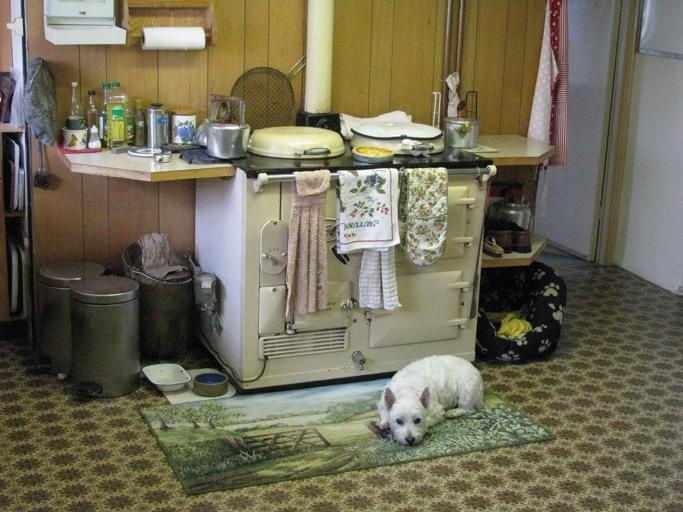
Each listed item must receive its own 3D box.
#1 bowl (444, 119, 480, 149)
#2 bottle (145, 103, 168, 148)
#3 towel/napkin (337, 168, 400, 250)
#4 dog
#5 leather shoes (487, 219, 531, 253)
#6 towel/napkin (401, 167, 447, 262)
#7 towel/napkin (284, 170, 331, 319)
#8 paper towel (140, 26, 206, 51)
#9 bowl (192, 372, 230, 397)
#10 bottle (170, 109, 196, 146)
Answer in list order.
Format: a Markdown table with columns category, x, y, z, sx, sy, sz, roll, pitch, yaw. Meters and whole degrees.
| category | x | y | z | sx | sy | sz | roll | pitch | yaw |
| --- | --- | --- | --- | --- | --- | --- | --- | --- | --- |
| bowl | 0.705 | -0.734 | 3.563 | 0.197 | 0.151 | 0.186 | 1 | 20 | 0 |
| bottle | -1.012 | -0.717 | 3.257 | 0.133 | 0.230 | 0.261 | -5 | 15 | -17 |
| towel/napkin | 0.123 | -0.241 | 2.933 | 0.353 | 0.423 | 0.094 | -5 | 12 | -17 |
| dog | 0.428 | 0.670 | 2.911 | 0.297 | 0.185 | 0.491 | -4 | 9 | 44 |
| leather shoes | 1.068 | -0.128 | 3.798 | 0.168 | 0.122 | 0.299 | -5 | 16 | -18 |
| towel/napkin | 0.444 | -0.202 | 3.084 | 0.286 | 0.502 | 0.079 | -6 | 15 | -20 |
| towel/napkin | -0.160 | -0.064 | 2.921 | 0.239 | 0.703 | 0.065 | -8 | 16 | -27 |
| paper towel | -0.884 | -1.165 | 3.158 | 0.344 | 0.122 | 0.136 | -6 | 16 | -19 |
| bowl | -0.680 | 0.665 | 3.077 | 0.124 | 0.048 | 0.125 | 3 | 15 | -1 |
| bottle | -0.872 | -0.714 | 3.282 | 0.151 | 0.179 | 0.238 | -5 | 15 | -16 |
